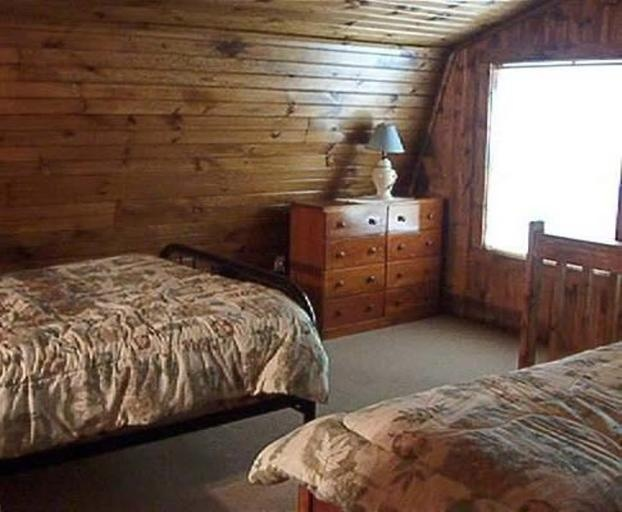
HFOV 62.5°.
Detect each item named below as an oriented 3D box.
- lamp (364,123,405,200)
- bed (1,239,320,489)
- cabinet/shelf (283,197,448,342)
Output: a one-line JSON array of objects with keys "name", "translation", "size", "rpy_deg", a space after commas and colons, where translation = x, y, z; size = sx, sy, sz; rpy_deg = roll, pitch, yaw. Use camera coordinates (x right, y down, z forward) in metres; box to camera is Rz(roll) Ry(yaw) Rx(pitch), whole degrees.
[{"name": "lamp", "translation": [0.632, -0.821, 4.363], "size": [0.281, 0.632, 0.517], "rpy_deg": [-1, 13, 10]}, {"name": "bed", "translation": [-0.662, 0.648, 2.303], "size": [1.075, 0.470, 1.019], "rpy_deg": [-6, 12, -40]}, {"name": "cabinet/shelf", "translation": [0.386, 0.086, 4.046], "size": [1.069, 0.889, 0.464], "rpy_deg": [-6, 11, -29]}]
